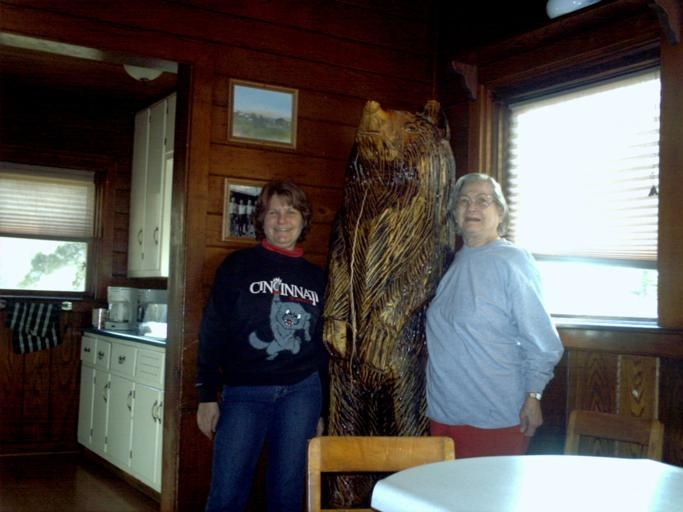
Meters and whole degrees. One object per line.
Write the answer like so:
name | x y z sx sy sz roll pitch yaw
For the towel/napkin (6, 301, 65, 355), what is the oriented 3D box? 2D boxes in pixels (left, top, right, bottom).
towel/napkin | -2.383 0.549 4.498 0.365 0.396 0.113 2 -1 -35

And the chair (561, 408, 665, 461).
chair | 1.011 0.595 2.159 0.345 0.180 0.333 4 2 28

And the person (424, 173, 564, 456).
person | 0.546 0.333 2.120 0.485 0.781 0.194 1 -1 21

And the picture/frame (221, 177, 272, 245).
picture/frame | -0.435 -0.194 2.618 0.334 0.358 0.027 3 -6 -28

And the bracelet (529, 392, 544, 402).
bracelet | 0.680 0.491 2.040 0.036 0.019 0.032 3 -1 22

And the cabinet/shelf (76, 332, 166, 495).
cabinet/shelf | -1.431 1.043 3.816 0.367 0.698 1.014 9 -8 -44

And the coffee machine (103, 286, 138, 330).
coffee machine | -1.759 0.412 4.633 0.211 0.326 0.270 -2 -3 5

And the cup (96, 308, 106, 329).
cup | -1.888 0.485 4.551 0.096 0.147 0.214 2 -1 -25
